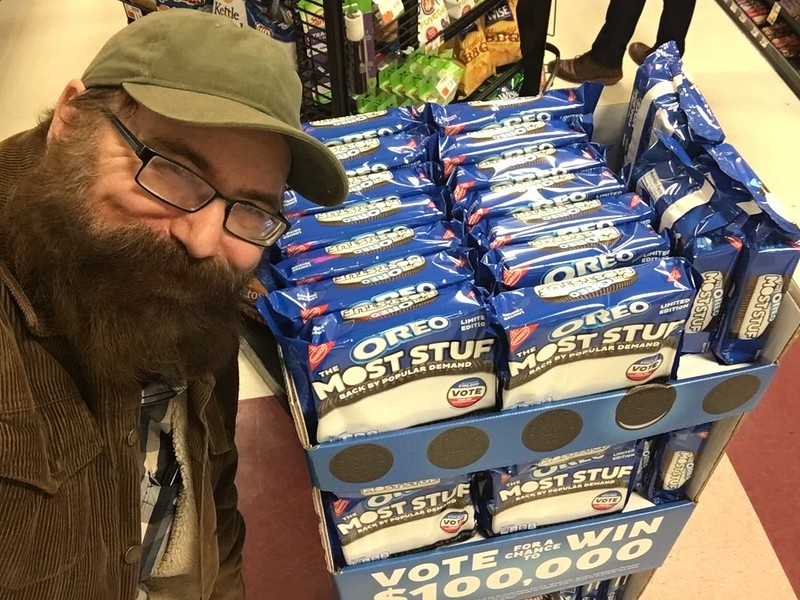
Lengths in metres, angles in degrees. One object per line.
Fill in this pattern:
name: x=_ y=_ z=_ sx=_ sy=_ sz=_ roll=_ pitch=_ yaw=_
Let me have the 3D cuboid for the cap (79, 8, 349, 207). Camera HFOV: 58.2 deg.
cap: x=-0.368 y=-0.467 z=1.625 sx=0.571 sy=0.390 sz=0.255 roll=23 pitch=92 yaw=15

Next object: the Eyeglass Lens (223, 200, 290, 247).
Eyeglass Lens: x=-0.337 y=-0.181 z=1.683 sx=0.105 sy=0.037 sz=0.120 roll=8 pitch=22 yaw=-49
